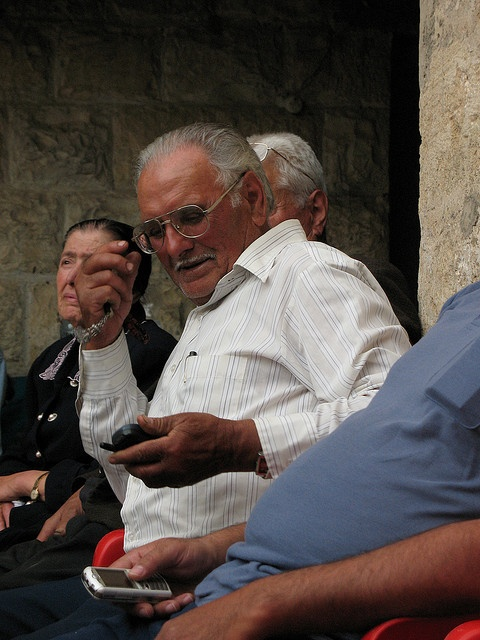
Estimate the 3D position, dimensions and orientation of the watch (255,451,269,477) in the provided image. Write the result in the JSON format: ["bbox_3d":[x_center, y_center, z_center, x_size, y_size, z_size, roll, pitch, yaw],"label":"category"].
[{"bbox_3d":[0.050,0.318,1.676,0.048,0.048,0.053,-4,-7,6],"label":"watch"}]

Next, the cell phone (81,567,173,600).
[{"bbox_3d":[-0.230,0.561,1.606,0.179,0.032,0.089,9,3,-16],"label":"cell phone"}]

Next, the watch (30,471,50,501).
[{"bbox_3d":[-0.770,0.639,2.918,0.045,0.092,0.105,13,-12,-4],"label":"watch"}]

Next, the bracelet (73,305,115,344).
[{"bbox_3d":[-0.431,0.012,2.257,0.103,0.130,0.038,42,6,-32],"label":"bracelet"}]

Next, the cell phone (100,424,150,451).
[{"bbox_3d":[-0.236,0.252,1.598,0.104,0.047,0.025,-10,46,-7],"label":"cell phone"}]
